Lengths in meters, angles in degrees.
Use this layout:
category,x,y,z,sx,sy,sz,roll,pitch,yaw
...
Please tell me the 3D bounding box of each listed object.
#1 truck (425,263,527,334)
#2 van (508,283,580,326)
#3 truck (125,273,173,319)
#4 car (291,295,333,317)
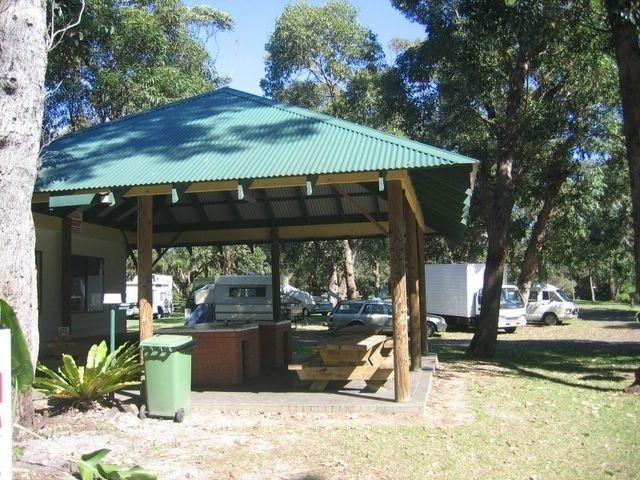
category,x,y,z,sx,sy,sz,roll,pitch,yaw
truck,6.369,2.588,28.301,5.542,3.332,2.342,-6,-8,42
van,11.717,3.281,31.971,2.476,1.615,1.789,-3,-4,19
truck,-10.231,3.387,38.222,2.461,2.693,9.507,2,-6,-14
car,-0.418,4.231,39.424,1.143,1.038,2.780,-3,-4,36
